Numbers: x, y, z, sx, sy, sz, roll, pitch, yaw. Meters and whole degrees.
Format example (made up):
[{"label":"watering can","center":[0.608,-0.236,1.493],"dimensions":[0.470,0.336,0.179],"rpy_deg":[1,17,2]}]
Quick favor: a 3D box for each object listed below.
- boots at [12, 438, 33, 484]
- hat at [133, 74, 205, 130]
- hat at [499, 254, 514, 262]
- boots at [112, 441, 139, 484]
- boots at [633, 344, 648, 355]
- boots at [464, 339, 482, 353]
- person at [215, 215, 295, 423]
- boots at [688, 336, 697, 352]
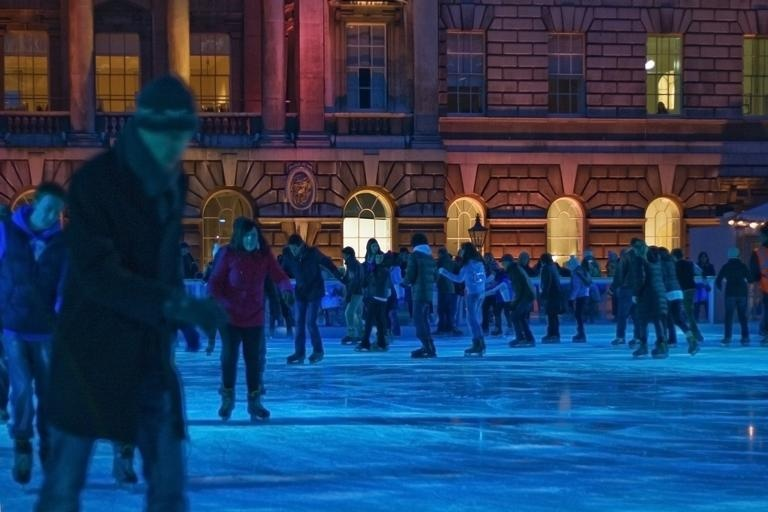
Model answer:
[{"label":"boots","center":[-4.863,2.749,19.390],"dimensions":[0.258,0.590,0.395],"rpy_deg":[-2,9,-17]},{"label":"hat","center":[-2.450,-1.754,16.277],"dimensions":[0.645,0.593,0.633],"rpy_deg":[1,2,-35]},{"label":"hat","center":[2.735,0.019,32.133],"dimensions":[0.233,0.226,0.174],"rpy_deg":[-3,-1,29]},{"label":"boots","center":[-3.415,2.808,19.440],"dimensions":[0.421,0.530,0.363],"rpy_deg":[-8,-1,29]},{"label":"boots","center":[5.256,1.899,29.503],"dimensions":[0.288,0.281,0.389],"rpy_deg":[2,9,9]},{"label":"boots","center":[1.860,1.859,29.730],"dimensions":[0.355,0.314,0.159],"rpy_deg":[1,9,4]},{"label":"person","center":[-2.010,0.958,22.123],"dimensions":[1.352,3.113,1.093],"rpy_deg":[1,3,-1]},{"label":"boots","center":[6.442,1.839,30.006],"dimensions":[0.193,0.403,0.340],"rpy_deg":[2,9,12]}]
